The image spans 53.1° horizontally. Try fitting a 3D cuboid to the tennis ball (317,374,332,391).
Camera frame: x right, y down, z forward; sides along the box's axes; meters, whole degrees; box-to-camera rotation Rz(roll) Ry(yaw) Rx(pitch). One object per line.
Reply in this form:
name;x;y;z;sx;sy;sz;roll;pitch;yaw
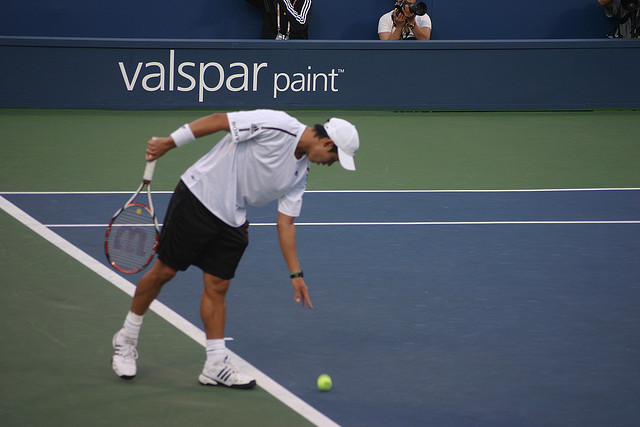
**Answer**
tennis ball;0.043;1.600;6.125;0.128;0.135;0.134;-1;1;0
